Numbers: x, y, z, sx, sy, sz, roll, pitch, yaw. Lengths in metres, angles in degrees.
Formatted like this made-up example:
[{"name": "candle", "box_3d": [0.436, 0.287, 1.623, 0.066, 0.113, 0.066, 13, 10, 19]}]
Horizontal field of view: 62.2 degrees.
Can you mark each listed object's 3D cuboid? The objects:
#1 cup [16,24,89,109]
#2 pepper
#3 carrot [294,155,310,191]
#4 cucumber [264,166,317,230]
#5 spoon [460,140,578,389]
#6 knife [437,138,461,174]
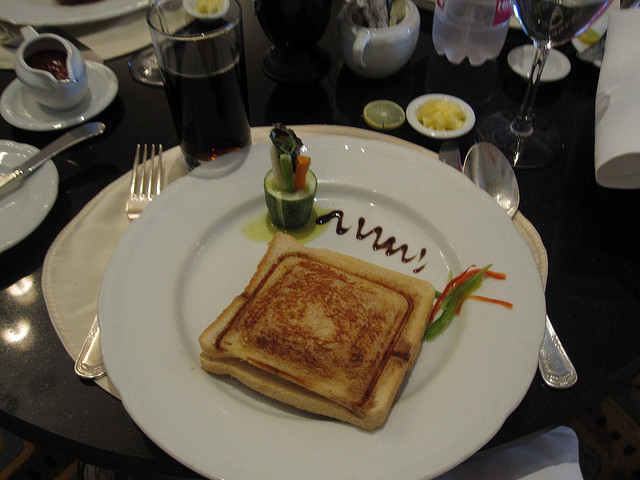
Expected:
[{"name": "cup", "box_3d": [-1.052, -0.645, 2.125, 0.192, 0.168, 0.386, -24, 78, -18]}, {"name": "pepper", "box_3d": [0.458, 0.128, 1.656, 0.176, 0.100, 0.301, 24, 62, 20]}, {"name": "carrot", "box_3d": [-0.052, -0.233, 1.815, 0.051, 0.122, 0.027, -8, 24, -23]}, {"name": "cucumber", "box_3d": [-0.104, -0.115, 1.930, 0.182, 0.149, 0.181, -36, 59, -28]}, {"name": "spoon", "box_3d": [0.675, -0.004, 1.842, 0.154, 0.099, 1.061, -8, 61, 10]}, {"name": "knife", "box_3d": [0.504, -0.330, 2.035, 0.063, 0.031, 0.160, -6, 58, 7]}]
